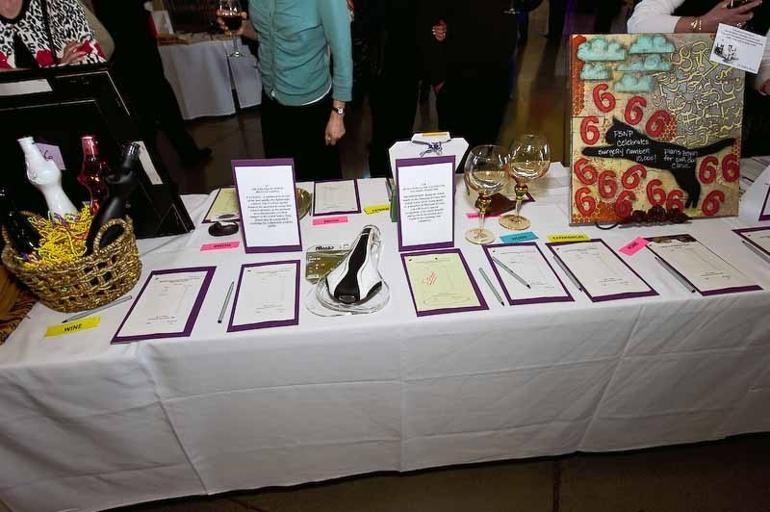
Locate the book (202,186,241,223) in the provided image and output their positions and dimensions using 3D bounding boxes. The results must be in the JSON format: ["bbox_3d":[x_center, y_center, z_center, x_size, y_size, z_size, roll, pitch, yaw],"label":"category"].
[{"bbox_3d":[-0.685,-0.225,2.249,0.139,0.012,0.181,-5,66,-11],"label":"book"}]

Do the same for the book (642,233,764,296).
[{"bbox_3d":[1.152,0.035,1.914,0.194,0.004,0.312,-5,34,-9],"label":"book"}]

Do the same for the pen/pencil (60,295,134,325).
[{"bbox_3d":[-1.017,0.190,1.835,0.214,0.022,0.021,-22,55,-21],"label":"pen/pencil"}]

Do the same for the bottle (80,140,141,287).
[{"bbox_3d":[-0.964,-0.176,1.828,0.101,0.469,0.117,44,28,23],"label":"bottle"}]

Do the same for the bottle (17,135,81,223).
[{"bbox_3d":[-1.203,-0.272,1.882,0.091,0.363,0.091,2,51,-3],"label":"bottle"}]

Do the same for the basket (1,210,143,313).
[{"bbox_3d":[-1.064,0.034,1.909,0.349,0.288,0.389,18,39,28],"label":"basket"}]

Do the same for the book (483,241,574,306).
[{"bbox_3d":[0.513,0.063,1.900,0.188,0.005,0.283,-5,44,-4],"label":"book"}]

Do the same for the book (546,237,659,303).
[{"bbox_3d":[0.804,0.035,1.951,0.248,0.002,0.400,-1,31,-11],"label":"book"}]

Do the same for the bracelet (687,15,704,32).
[{"bbox_3d":[1.317,-0.979,2.219,0.046,0.067,0.017,5,-1,7],"label":"bracelet"}]
